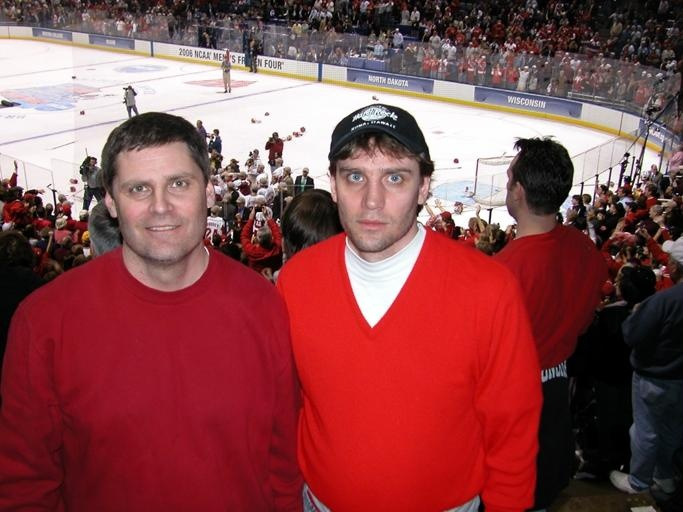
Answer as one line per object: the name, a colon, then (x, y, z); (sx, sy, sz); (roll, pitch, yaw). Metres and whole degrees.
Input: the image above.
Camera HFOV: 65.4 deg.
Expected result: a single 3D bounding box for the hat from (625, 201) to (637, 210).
hat: (5.578, -0.985, 10.228); (0.116, 0.164, 0.164); (0, 3, 5)
